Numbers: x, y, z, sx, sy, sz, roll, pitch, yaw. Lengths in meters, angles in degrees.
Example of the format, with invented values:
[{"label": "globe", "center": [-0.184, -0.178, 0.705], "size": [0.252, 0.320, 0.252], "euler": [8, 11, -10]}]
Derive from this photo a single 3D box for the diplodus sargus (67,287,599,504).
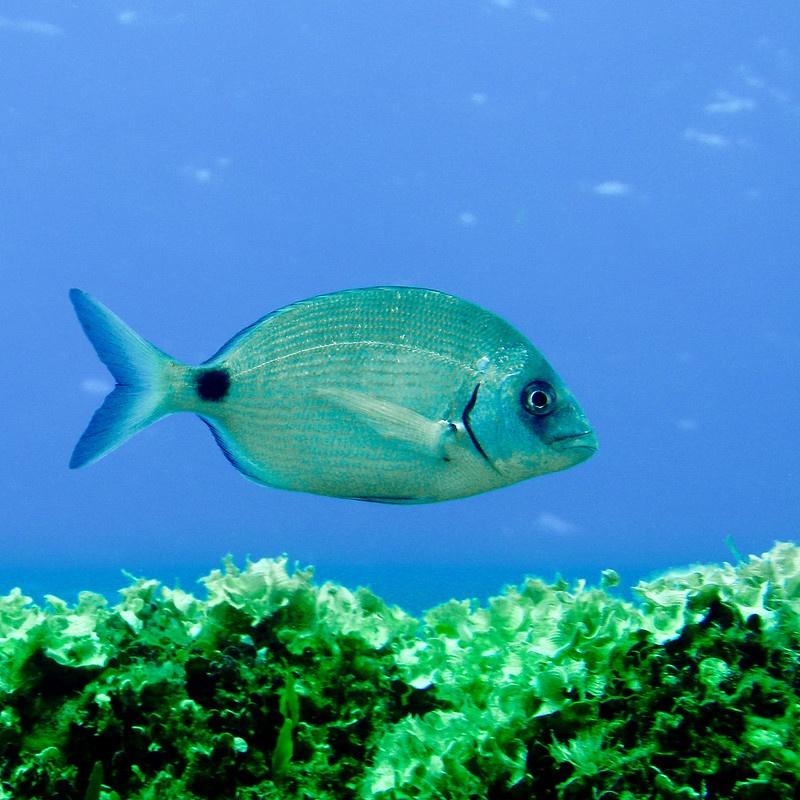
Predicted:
[{"label": "diplodus sargus", "center": [-0.191, -0.038, 3.038], "size": [1.617, 0.466, 0.495], "euler": [3, 7, 22]}]
